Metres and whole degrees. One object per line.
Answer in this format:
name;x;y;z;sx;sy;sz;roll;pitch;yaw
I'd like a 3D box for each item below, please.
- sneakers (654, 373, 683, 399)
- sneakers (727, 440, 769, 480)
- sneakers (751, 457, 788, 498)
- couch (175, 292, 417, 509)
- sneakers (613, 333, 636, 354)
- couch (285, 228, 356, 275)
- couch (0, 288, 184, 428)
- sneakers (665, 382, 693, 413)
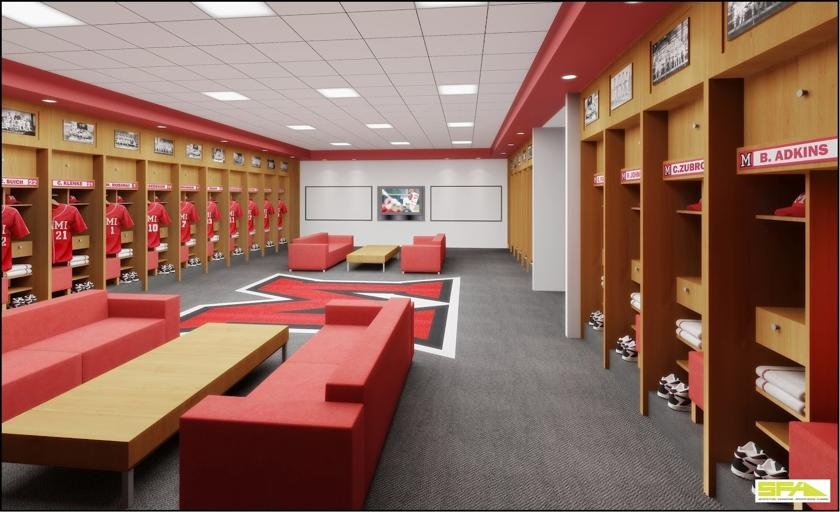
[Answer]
sneakers;2.443;1.284;4.532;0.128;0.140;0.348;1;2;33
sneakers;2.552;1.598;3.592;0.176;0.179;0.367;1;1;41
sneakers;2.561;1.619;3.371;0.145;0.166;0.424;-1;-1;31
couch;-0.938;1.291;4.142;1.311;1.024;2.028;3;14;10
sneakers;2.441;1.040;5.466;0.260;0.144;0.351;-2;-2;27
couch;-2.789;-0.243;13.418;1.053;0.895;3.224;2;14;7
couch;-3.793;0.943;4.966;1.017;0.539;2.488;4;8;4
sneakers;2.442;1.337;4.296;0.122;0.129;0.331;1;1;25
